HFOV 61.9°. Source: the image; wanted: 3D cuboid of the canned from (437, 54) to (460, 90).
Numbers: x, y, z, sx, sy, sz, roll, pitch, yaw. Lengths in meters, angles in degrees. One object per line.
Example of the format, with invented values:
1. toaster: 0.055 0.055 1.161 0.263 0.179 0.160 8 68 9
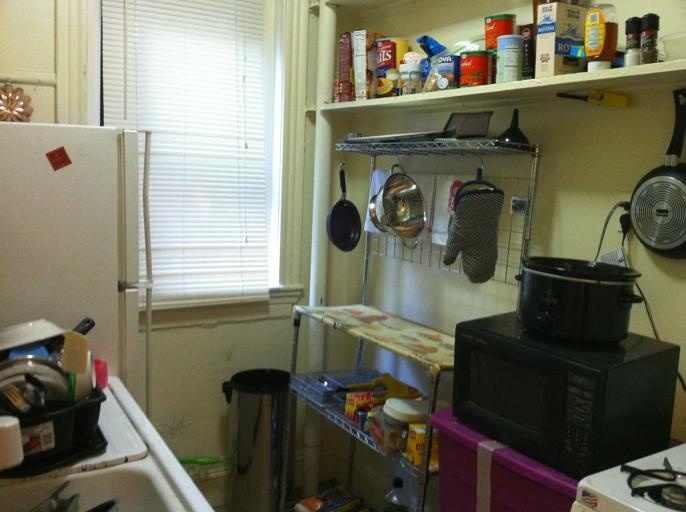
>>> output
1. canned: 0.382 -0.671 2.080 0.079 0.118 0.044 2 11 15

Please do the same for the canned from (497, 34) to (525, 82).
1. canned: 0.558 -0.658 1.918 0.093 0.163 0.092 4 5 27

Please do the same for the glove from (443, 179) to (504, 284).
1. glove: 0.466 -0.088 2.004 0.218 0.362 0.088 2 13 -4

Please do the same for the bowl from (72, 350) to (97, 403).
1. bowl: -0.714 0.324 1.575 0.044 0.128 0.140 -4 12 -15

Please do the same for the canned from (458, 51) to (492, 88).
1. canned: 0.470 -0.665 2.044 0.138 0.133 0.137 -14 19 -40

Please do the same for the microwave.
1. microwave: 0.652 0.320 1.809 0.555 0.416 0.563 -1 10 -24
